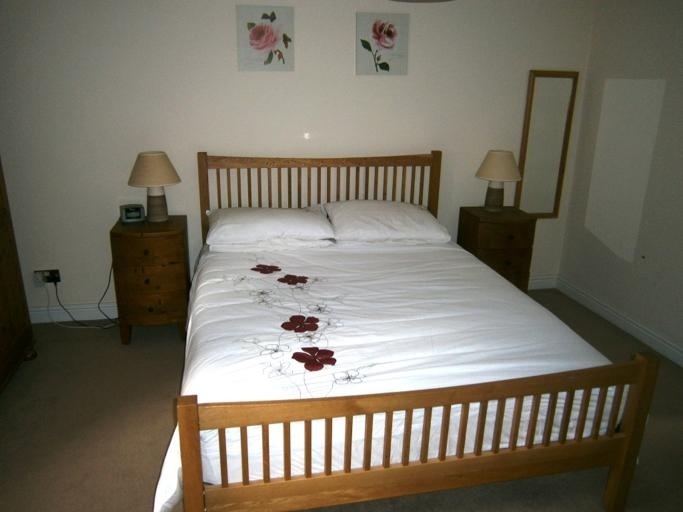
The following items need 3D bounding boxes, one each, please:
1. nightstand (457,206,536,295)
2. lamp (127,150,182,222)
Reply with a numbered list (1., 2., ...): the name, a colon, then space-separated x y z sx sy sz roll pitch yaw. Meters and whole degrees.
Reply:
1. nightstand: 1.372 -0.195 4.324 0.537 0.635 0.486 16 59 22
2. lamp: -1.298 -0.565 3.915 0.475 0.589 0.485 -3 26 -10
